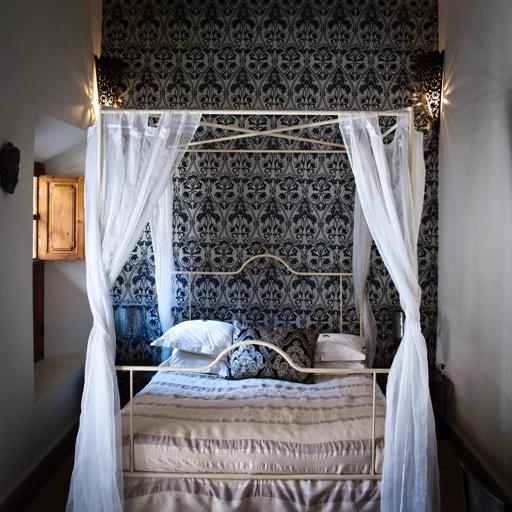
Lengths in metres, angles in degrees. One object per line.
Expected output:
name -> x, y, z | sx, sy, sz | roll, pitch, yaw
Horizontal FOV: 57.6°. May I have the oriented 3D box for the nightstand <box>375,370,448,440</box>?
nightstand -> 1.271, 1.197, 3.832 | 0.429, 0.642, 0.397 | -11, -28, 15
